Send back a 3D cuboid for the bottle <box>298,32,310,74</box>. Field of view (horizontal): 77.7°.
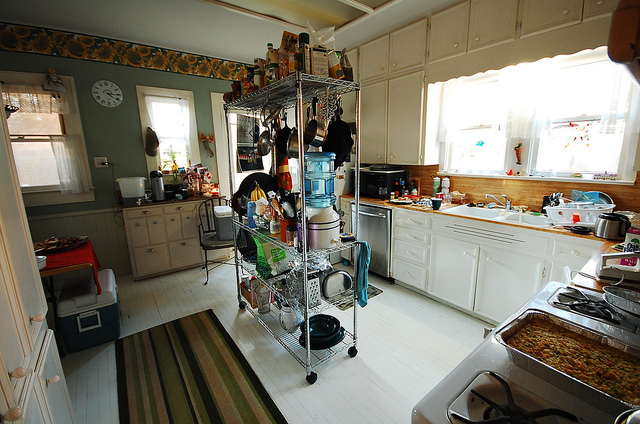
[{"bbox_3d":[-0.140,-1.374,3.449,0.129,0.334,0.055,-11,15,-33],"label":"bottle"}]

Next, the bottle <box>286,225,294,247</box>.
[{"bbox_3d":[-0.278,0.223,3.675,0.077,0.186,0.096,-2,12,0],"label":"bottle"}]

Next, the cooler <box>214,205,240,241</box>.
[{"bbox_3d":[-1.170,0.213,5.345,0.302,0.373,0.401,-3,-6,14],"label":"cooler"}]

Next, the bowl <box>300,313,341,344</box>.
[{"bbox_3d":[0.025,1.181,4.072,0.275,0.102,0.263,-3,32,2],"label":"bowl"}]

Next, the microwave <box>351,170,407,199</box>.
[{"bbox_3d":[0.814,-0.375,5.429,0.437,0.345,0.561,-9,14,-33],"label":"microwave"}]

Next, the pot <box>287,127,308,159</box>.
[{"bbox_3d":[-0.251,-0.610,3.568,0.094,0.276,0.229,-6,13,-15],"label":"pot"}]

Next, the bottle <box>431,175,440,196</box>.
[{"bbox_3d":[1.489,-0.347,5.124,0.096,0.235,0.154,0,12,10],"label":"bottle"}]

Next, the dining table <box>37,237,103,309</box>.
[{"bbox_3d":[-2.593,0.639,4.099,0.502,0.186,0.795,-14,28,-22],"label":"dining table"}]

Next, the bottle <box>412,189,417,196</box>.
[{"bbox_3d":[1.232,-0.240,5.211,0.072,0.064,0.069,-2,10,-17],"label":"bottle"}]

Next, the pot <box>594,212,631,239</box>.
[{"bbox_3d":[2.759,0.147,3.722,0.236,0.215,0.321,-10,16,-38],"label":"pot"}]

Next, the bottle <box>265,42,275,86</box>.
[{"bbox_3d":[-0.466,-1.348,3.653,0.088,0.379,0.281,-4,12,-7],"label":"bottle"}]

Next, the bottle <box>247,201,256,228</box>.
[{"bbox_3d":[-0.707,0.031,4.139,0.091,0.259,0.096,-2,13,1],"label":"bottle"}]

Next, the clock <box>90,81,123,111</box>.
[{"bbox_3d":[-2.790,-1.506,5.153,0.437,0.418,0.043,-1,17,-40],"label":"clock"}]

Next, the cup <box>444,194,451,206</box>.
[{"bbox_3d":[1.582,-0.154,4.925,0.076,0.113,0.124,1,12,15],"label":"cup"}]

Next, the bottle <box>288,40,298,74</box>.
[{"bbox_3d":[-0.239,-1.358,3.484,0.091,0.294,0.164,-3,12,-3],"label":"bottle"}]

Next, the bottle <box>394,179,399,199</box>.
[{"bbox_3d":[1.005,-0.303,5.217,0.057,0.231,0.088,0,13,10],"label":"bottle"}]

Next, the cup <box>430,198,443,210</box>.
[{"bbox_3d":[1.339,-0.090,4.579,0.112,0.107,0.122,-1,8,0],"label":"cup"}]

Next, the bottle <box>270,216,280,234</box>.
[{"bbox_3d":[-0.443,0.129,3.876,0.127,0.173,0.042,9,17,42],"label":"bottle"}]

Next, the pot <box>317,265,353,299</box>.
[{"bbox_3d":[0.092,0.657,3.888,0.364,0.268,0.256,-10,30,-32],"label":"pot"}]
